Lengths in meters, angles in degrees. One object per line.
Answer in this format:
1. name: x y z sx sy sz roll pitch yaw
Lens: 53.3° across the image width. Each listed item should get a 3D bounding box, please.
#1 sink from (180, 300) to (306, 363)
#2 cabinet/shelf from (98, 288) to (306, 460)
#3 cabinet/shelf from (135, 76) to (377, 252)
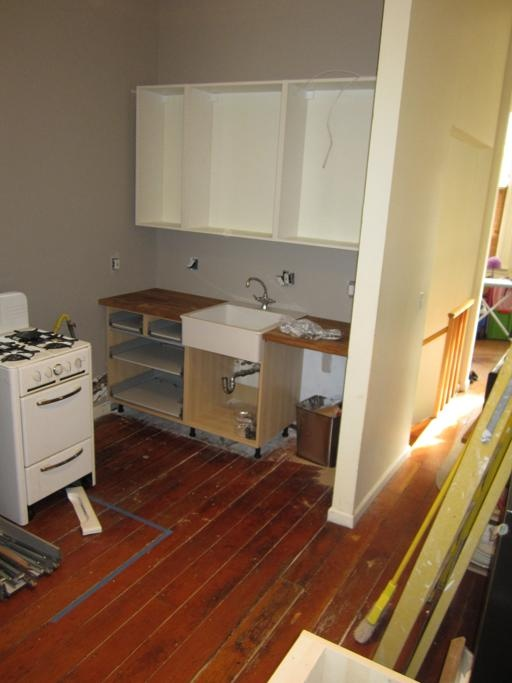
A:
1. sink: -0.095 -0.055 3.298 0.627 0.264 0.583 11 15 29
2. cabinet/shelf: -0.423 0.177 3.489 1.277 0.834 0.504 11 17 29
3. cabinet/shelf: -0.076 -1.130 3.250 1.659 0.946 0.369 10 15 28
